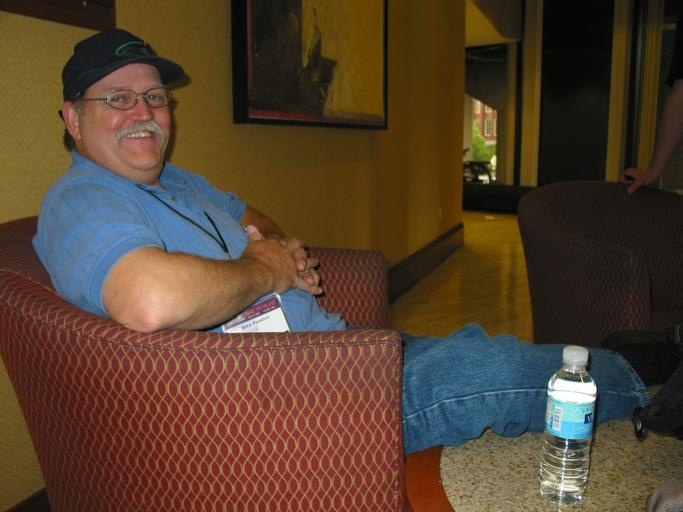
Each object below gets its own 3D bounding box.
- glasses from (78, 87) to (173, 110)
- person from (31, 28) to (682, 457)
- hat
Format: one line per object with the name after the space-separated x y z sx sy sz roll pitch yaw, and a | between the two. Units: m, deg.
-0.647 -0.488 1.872 0.131 0.038 0.129 3 10 32 | glasses
-0.050 0.008 1.975 1.593 1.091 1.222 -1 9 0 | person
-0.695 -0.603 1.870 0.331 0.179 0.250 -25 6 18 | hat
